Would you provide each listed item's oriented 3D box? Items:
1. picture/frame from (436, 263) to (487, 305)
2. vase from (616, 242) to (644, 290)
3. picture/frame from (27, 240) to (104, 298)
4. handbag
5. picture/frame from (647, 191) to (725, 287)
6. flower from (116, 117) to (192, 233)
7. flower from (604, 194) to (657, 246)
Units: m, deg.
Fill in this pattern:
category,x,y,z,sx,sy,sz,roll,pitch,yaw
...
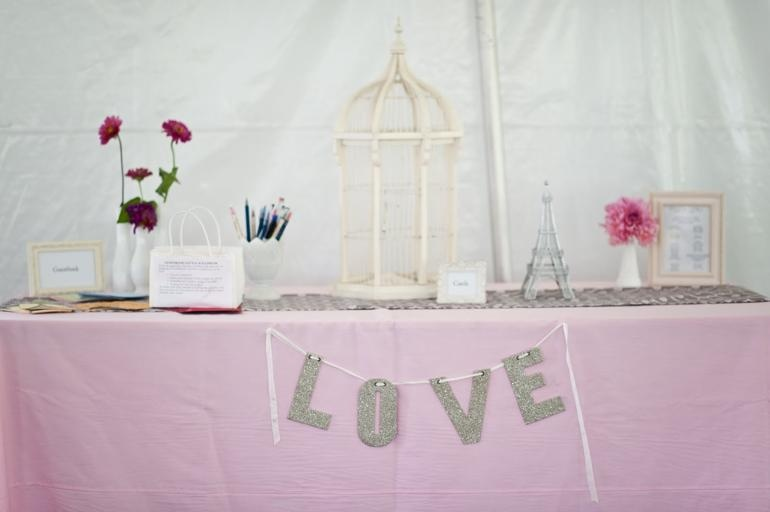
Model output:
category,x,y,z,sx,sy,sz,roll,pitch,yaw
picture/frame,0.284,0.099,2.960,0.165,0.158,0.041,1,4,0
vase,0.988,0.040,3.199,0.096,0.185,0.155,-1,-4,11
picture/frame,-1.217,0.056,2.990,0.206,0.177,0.020,-2,2,-18
handbag,-0.713,0.022,2.964,0.411,0.460,0.168,0,-2,-2
picture/frame,1.186,-0.068,3.094,0.370,0.465,0.035,0,0,-2
flower,-0.933,-0.322,3.154,0.247,0.485,0.507,1,-4,-18
flower,0.961,-0.129,3.093,0.187,0.191,0.100,2,-7,19
